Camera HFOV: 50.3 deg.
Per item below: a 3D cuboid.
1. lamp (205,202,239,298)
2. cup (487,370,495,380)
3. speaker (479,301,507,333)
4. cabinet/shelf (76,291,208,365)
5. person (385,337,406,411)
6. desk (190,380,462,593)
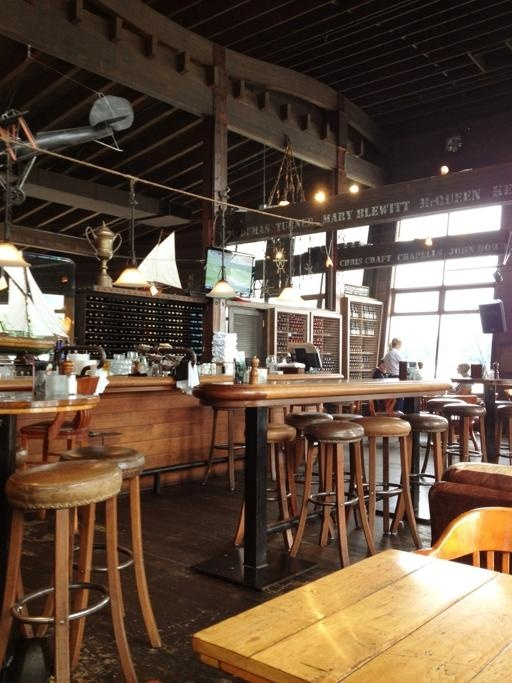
[{"bbox_3d":[-0.319,-0.893,5.337,0.267,0.787,0.261,2,14,5],"label":"lamp"},{"bbox_3d":[2.747,0.387,6.390,0.099,0.109,0.098,1,-1,0],"label":"cup"},{"bbox_3d":[3.153,-0.339,7.321,0.295,0.436,0.478,-1,-3,26],"label":"speaker"},{"bbox_3d":[-1.571,-0.034,7.270,1.425,1.181,0.497,4,-5,-22],"label":"cabinet/shelf"},{"bbox_3d":[2.317,0.553,9.272,0.319,1.106,0.300,4,7,41],"label":"person"},{"bbox_3d":[0.251,0.747,3.122,1.493,1.032,0.545,4,-4,-44],"label":"desk"}]
